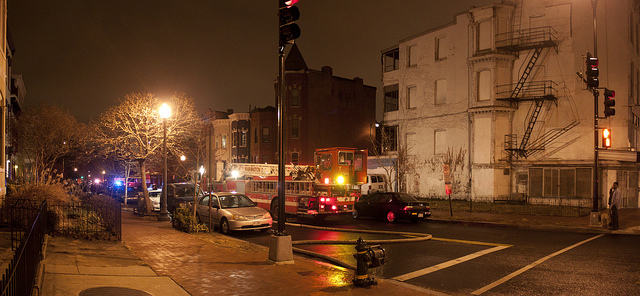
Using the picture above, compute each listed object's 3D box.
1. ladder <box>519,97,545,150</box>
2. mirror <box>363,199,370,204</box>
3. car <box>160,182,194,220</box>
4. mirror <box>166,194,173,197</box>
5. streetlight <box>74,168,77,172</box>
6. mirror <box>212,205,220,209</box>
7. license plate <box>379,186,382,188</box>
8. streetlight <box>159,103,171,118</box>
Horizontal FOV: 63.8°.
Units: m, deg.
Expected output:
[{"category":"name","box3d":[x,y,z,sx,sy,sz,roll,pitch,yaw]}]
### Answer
[{"category":"ladder","box3d":[25.509,-3.287,62.320,2.059,5.629,1.927,2,-1,-1]},{"category":"mirror","box3d":[4.667,5.304,51.525,0.726,0.454,0.216,-6,-10,38]},{"category":"car","box3d":[-14.050,4.972,52.304,3.093,2.814,7.345,3,-5,-36]},{"category":"mirror","box3d":[-15.381,4.874,53.010,0.823,0.222,0.090,-6,-10,37]},{"category":"streetlight","box3d":[-44.923,3.962,94.758,0.525,0.456,0.521,-2,8,-29]},{"category":"mirror","box3d":[-9.326,5.256,46.136,0.748,0.291,0.151,-5,-9,32]},{"category":"license plate","box3d":[7.994,5.098,67.513,0.418,0.181,0.018,5,-8,-30]},{"category":"streetlight","box3d":[-14.056,-3.491,46.760,0.828,1.358,0.410,3,-7,-18]}]
